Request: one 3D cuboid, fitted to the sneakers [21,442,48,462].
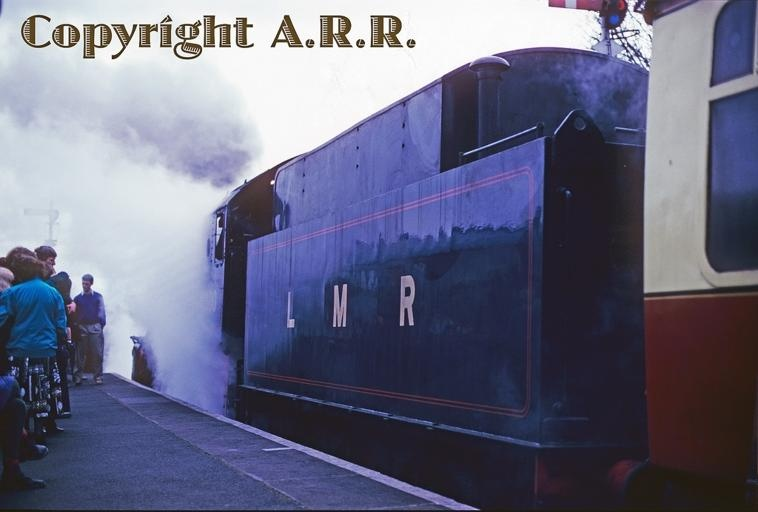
[{"bbox_3d":[-3.715,2.114,6.733,0.305,0.139,0.111,-4,6,-32],"label":"sneakers"}]
